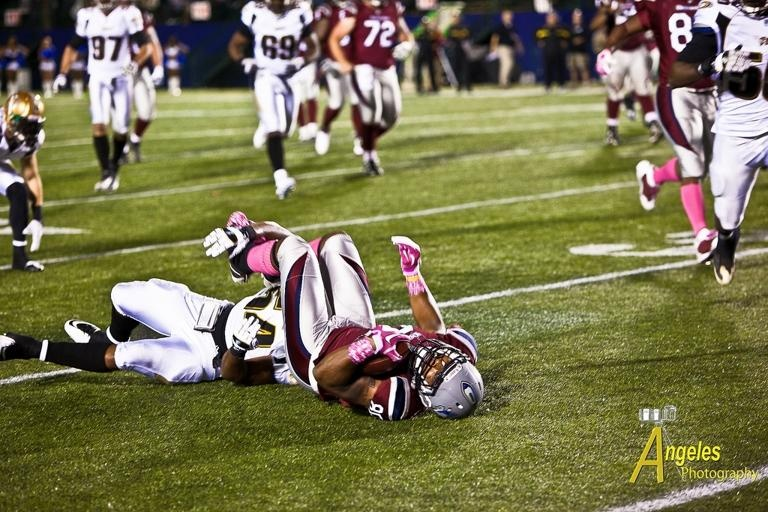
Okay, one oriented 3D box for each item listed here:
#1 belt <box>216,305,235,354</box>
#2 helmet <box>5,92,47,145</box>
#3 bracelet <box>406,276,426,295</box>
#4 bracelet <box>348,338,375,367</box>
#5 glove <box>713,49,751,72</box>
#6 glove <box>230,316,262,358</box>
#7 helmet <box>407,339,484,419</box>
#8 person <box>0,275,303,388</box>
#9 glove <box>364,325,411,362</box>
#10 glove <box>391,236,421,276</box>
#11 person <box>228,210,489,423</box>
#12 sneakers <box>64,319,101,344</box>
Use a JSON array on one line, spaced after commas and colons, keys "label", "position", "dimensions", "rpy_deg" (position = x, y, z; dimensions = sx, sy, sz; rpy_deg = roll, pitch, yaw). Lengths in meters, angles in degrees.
[{"label": "belt", "position": [-0.929, 0.406, 5.610], "dimensions": [0.074, 0.216, 0.162], "rpy_deg": [13, -1, -44]}, {"label": "helmet", "position": [-2.558, -0.990, 7.033], "dimensions": [0.274, 0.358, 0.351], "rpy_deg": [4, 6, -20]}, {"label": "bracelet", "position": [0.177, 0.158, 5.525], "dimensions": [0.112, 0.111, 0.086], "rpy_deg": [3, -1, 7]}, {"label": "bracelet", "position": [-0.136, 0.492, 5.178], "dimensions": [0.139, 0.107, 0.063], "rpy_deg": [-34, 13, 41]}, {"label": "glove", "position": [2.144, -1.202, 6.088], "dimensions": [0.224, 0.133, 0.054], "rpy_deg": [-1, 9, 14]}, {"label": "glove", "position": [-0.730, 0.421, 5.294], "dimensions": [0.070, 0.224, 0.160], "rpy_deg": [-7, 47, -43]}, {"label": "helmet", "position": [0.321, 0.687, 5.351], "dimensions": [0.348, 0.417, 0.327], "rpy_deg": [-46, -11, -9]}, {"label": "person", "position": [-1.268, 0.484, 5.613], "dimensions": [1.348, 0.466, 0.732], "rpy_deg": [1, 38, -4]}, {"label": "glove", "position": [0.033, 0.461, 5.246], "dimensions": [0.109, 0.212, 0.248], "rpy_deg": [4, 12, 41]}, {"label": "glove", "position": [0.140, -0.035, 5.532], "dimensions": [0.141, 0.225, 0.087], "rpy_deg": [-16, 28, 27]}, {"label": "person", "position": [-0.146, 0.386, 5.798], "dimensions": [1.456, 0.838, 0.719], "rpy_deg": [34, 26, 28]}, {"label": "sneakers", "position": [-1.862, 0.441, 5.926], "dimensions": [0.294, 0.105, 0.116], "rpy_deg": [12, -7, -14]}]
